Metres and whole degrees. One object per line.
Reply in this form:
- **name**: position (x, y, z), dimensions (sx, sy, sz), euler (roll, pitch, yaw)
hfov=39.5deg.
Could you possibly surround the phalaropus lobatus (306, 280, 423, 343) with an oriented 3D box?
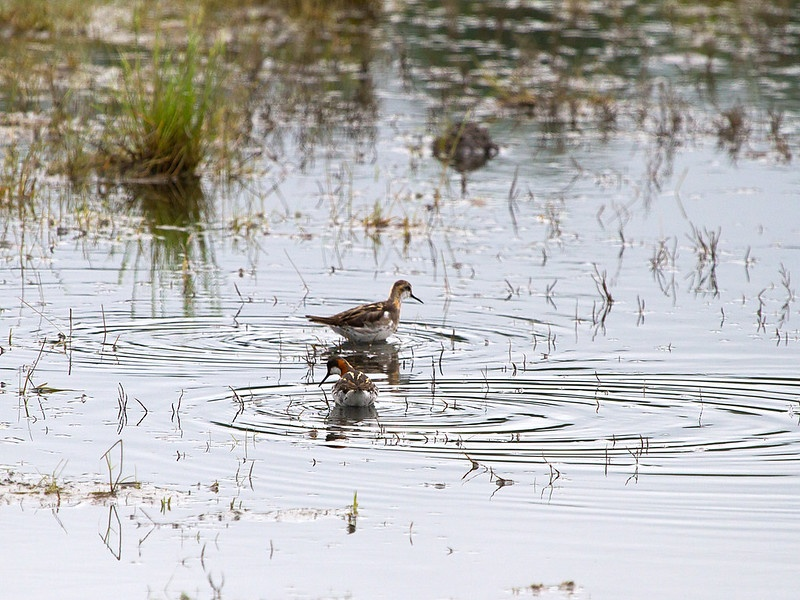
- **phalaropus lobatus**: position (-0.460, 0.189, 12.909), dimensions (1.535, 0.856, 0.517), euler (2, 9, -29)
